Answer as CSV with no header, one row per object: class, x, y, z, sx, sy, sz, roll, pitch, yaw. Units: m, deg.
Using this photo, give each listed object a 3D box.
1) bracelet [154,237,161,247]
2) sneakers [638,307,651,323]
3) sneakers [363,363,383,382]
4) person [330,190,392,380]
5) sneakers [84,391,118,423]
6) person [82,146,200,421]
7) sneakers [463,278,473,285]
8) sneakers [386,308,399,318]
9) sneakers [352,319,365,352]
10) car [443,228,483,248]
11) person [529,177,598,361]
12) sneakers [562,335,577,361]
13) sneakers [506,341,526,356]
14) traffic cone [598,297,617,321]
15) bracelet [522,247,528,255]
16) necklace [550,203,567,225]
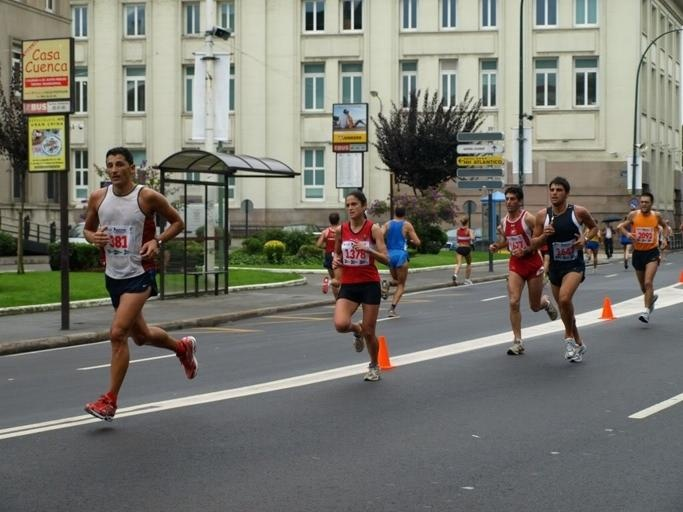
bracelet,-1.786,-0.139,7.966,0.020,0.071,0.074,-29,51,-21
sneakers,5.360,1.044,14.505,0.116,0.242,0.339,-1,-33,36
sneakers,0.372,1.372,9.634,0.100,0.198,0.259,-4,-7,29
person,0.236,0.349,9.605,0.639,2.213,0.740,-2,6,0
sneakers,-2.175,1.374,7.578,0.320,0.236,0.165,26,-6,-15
person,-2.002,0.249,8.063,1.044,2.614,1.277,-4,6,-14
sneakers,3.902,0.795,25.275,0.127,0.170,0.373,3,8,25
sneakers,1.043,1.141,16.408,0.098,0.192,0.258,6,7,35
sneakers,0.197,0.990,9.899,0.126,0.438,0.172,3,4,16
car,6.702,-1.071,45.184,2.272,1.441,1.440,3,1,-7
person,2.999,0.168,11.037,0.799,2.444,1.018,0,6,17
sneakers,3.021,1.214,10.755,0.145,0.313,0.367,0,7,16
sneakers,2.451,1.294,11.492,0.131,0.158,0.324,-2,-6,27
traffic cone,5.060,0.972,15.410,0.370,0.588,0.418,-2,-3,4
bracelet,2.552,-0.067,11.413,0.063,0.081,0.087,11,21,38
necklace,2.887,-0.565,11.123,0.153,0.225,0.078,9,24,9
